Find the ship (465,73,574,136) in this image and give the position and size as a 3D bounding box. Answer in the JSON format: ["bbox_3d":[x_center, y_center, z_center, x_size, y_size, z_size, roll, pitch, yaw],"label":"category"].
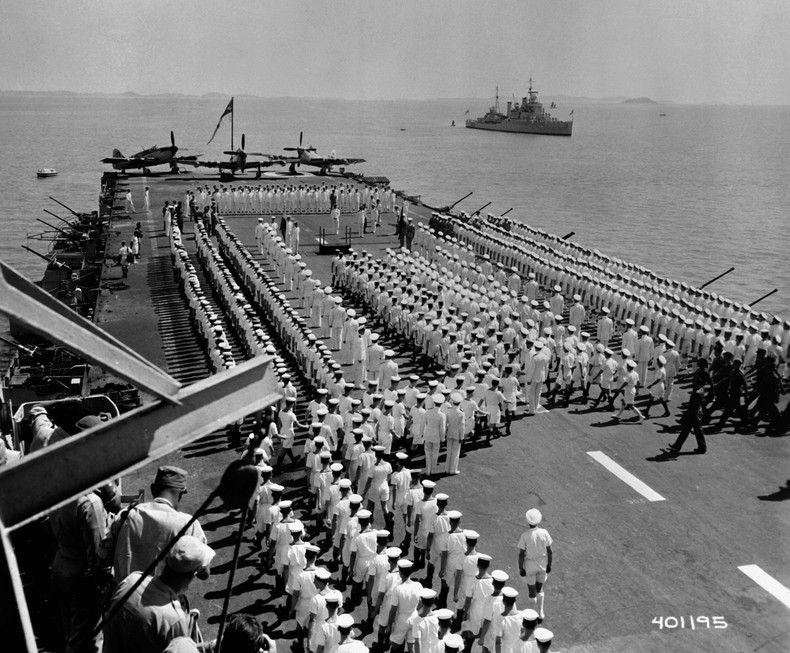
[{"bbox_3d":[24.799,-43.549,161.890,21.360,10.996,6.915,11,9,33],"label":"ship"}]
